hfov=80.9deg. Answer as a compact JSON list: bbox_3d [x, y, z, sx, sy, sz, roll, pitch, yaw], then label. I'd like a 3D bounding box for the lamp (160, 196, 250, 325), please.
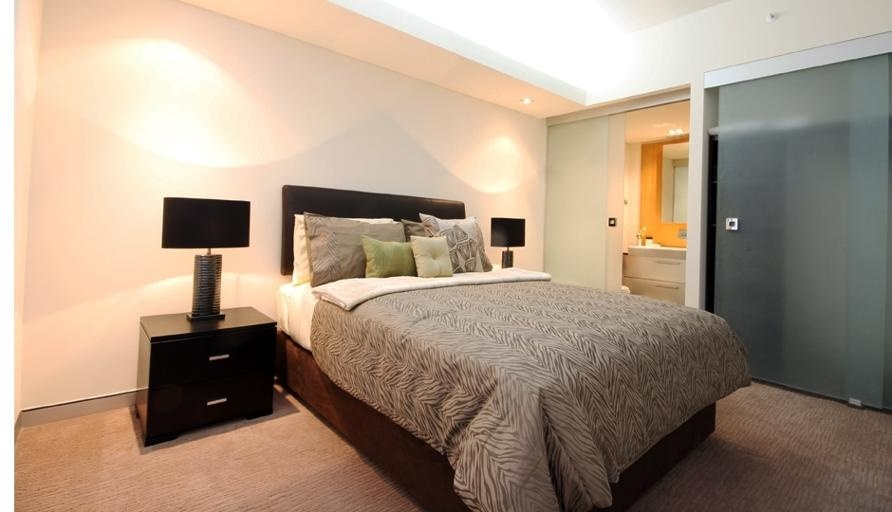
[{"bbox_3d":[-2.017,0.018,4.479,0.674,1.051,0.231,-5,6,-27],"label":"lamp"}]

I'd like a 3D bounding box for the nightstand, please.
[{"bbox_3d":[-2.130,0.985,4.625,1.090,0.890,0.739,0,11,-38],"label":"nightstand"}]

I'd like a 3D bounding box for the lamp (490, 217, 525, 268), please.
[{"bbox_3d":[0.741,-0.120,6.352,0.392,0.604,0.392,10,17,36],"label":"lamp"}]
